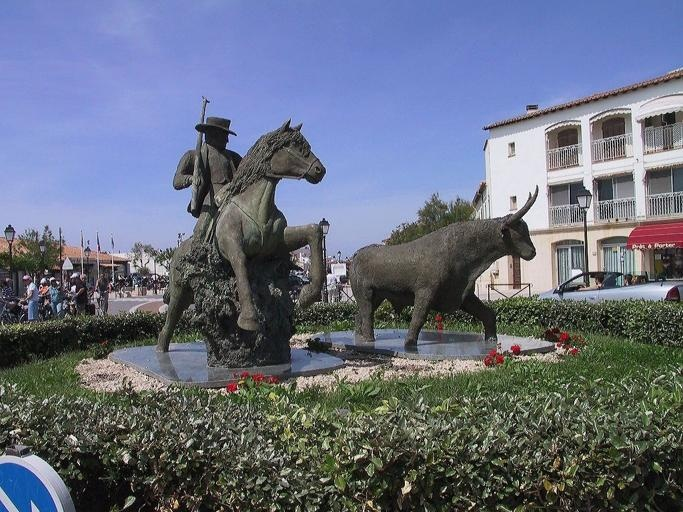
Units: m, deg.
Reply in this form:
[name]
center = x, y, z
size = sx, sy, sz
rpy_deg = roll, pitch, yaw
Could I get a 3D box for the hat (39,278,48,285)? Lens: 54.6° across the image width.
[hat]
center = -9.591, 0.811, 21.353
size = 0.248, 0.177, 0.347
rpy_deg = -2, -2, -28

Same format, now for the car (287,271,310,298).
[car]
center = -2.290, 1.344, 33.606
size = 1.657, 1.318, 2.465
rpy_deg = 2, -9, -11

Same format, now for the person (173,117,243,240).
[person]
center = -1.792, -0.830, 9.188
size = 0.969, 2.425, 0.707
rpy_deg = 0, -22, -15

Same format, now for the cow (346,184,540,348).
[cow]
center = 1.517, 0.260, 10.901
size = 3.196, 2.592, 1.112
rpy_deg = 0, 7, 23

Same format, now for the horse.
[horse]
center = -1.673, -0.111, 9.439
size = 0.940, 2.539, 3.945
rpy_deg = 2, -12, -41

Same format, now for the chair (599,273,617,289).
[chair]
center = 7.322, 0.675, 18.348
size = 0.537, 0.497, 0.820
rpy_deg = 1, -3, -3
